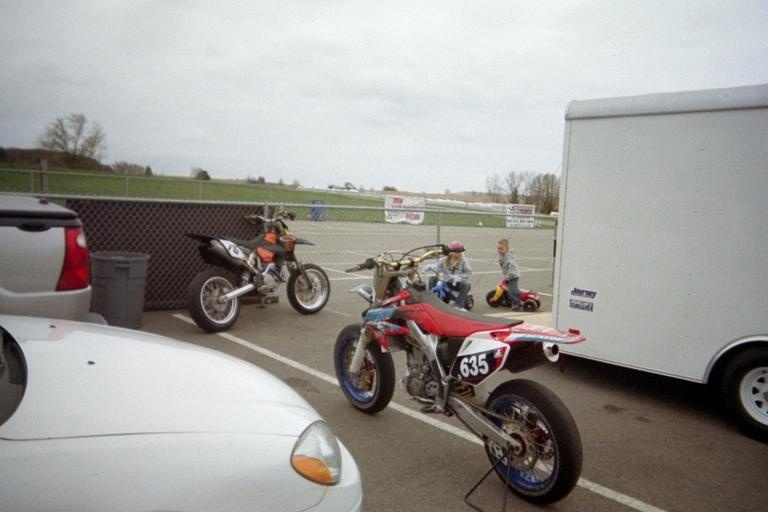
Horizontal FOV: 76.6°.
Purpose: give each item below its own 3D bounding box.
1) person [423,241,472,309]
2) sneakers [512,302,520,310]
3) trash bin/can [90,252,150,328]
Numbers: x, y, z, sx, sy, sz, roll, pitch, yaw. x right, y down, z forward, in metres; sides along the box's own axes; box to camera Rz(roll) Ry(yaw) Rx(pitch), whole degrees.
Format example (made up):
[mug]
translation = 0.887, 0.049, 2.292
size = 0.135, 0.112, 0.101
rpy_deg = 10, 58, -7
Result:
[person]
translation = 1.322, 0.459, 9.967
size = 0.835, 1.451, 1.147
rpy_deg = 8, 11, 39
[sneakers]
translation = 2.961, 1.143, 10.912
size = 0.100, 0.087, 0.236
rpy_deg = 18, -32, 12
[trash bin/can]
translation = -3.967, 0.441, 7.558
size = 1.056, 1.354, 0.959
rpy_deg = 0, 4, -45
